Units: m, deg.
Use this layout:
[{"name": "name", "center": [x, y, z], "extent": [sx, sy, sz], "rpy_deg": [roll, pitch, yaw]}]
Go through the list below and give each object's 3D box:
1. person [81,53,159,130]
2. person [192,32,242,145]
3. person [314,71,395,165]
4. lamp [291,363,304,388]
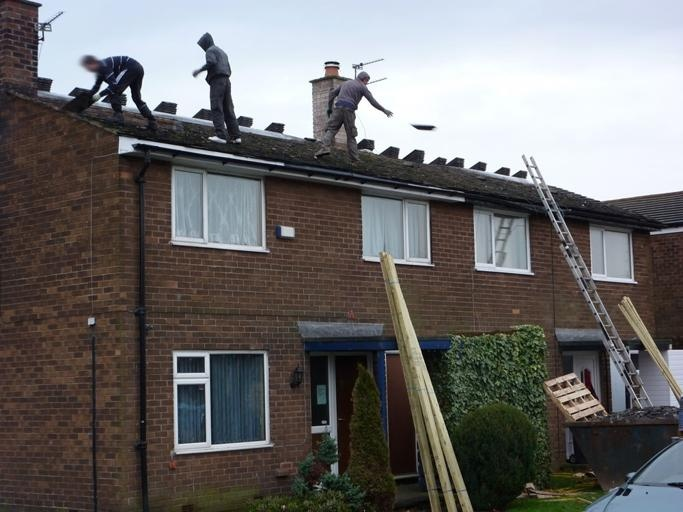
[{"name": "person", "center": [-4.479, -3.258, 22.224], "extent": [1.511, 1.563, 0.691], "rpy_deg": [3, -15, -27]}, {"name": "person", "center": [-2.568, -3.483, 23.328], "extent": [0.689, 2.626, 1.066], "rpy_deg": [-7, -14, 12]}, {"name": "person", "center": [0.338, -3.161, 25.006], "extent": [1.576, 2.084, 1.187], "rpy_deg": [8, -5, -5]}, {"name": "lamp", "center": [-0.849, 2.413, 21.950], "extent": [0.323, 0.470, 0.103], "rpy_deg": [3, -16, -28]}]
